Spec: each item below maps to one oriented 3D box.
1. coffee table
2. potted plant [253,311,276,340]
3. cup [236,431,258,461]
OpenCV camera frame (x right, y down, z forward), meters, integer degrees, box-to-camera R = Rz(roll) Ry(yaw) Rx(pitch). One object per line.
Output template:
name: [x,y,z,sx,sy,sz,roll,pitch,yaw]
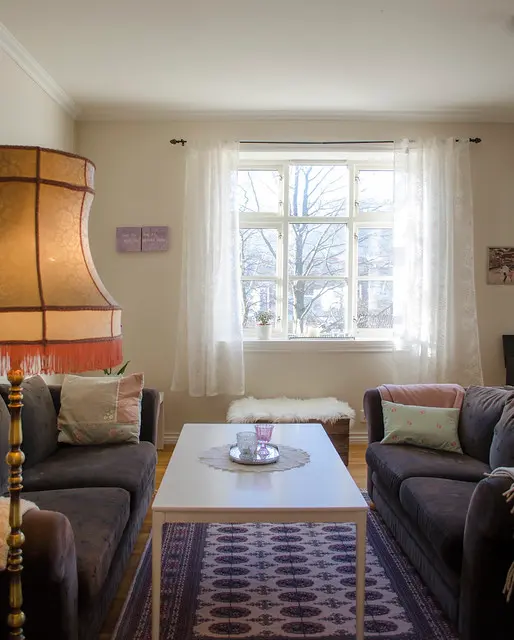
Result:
coffee table: [-0.003,0.817,2.275,0.736,0.447,0.990,0,3,-2]
potted plant: [0.059,0.045,4.415,0.127,0.205,0.190,1,3,2]
cup: [-0.042,0.532,2.302,0.101,0.110,0.095,0,1,0]
